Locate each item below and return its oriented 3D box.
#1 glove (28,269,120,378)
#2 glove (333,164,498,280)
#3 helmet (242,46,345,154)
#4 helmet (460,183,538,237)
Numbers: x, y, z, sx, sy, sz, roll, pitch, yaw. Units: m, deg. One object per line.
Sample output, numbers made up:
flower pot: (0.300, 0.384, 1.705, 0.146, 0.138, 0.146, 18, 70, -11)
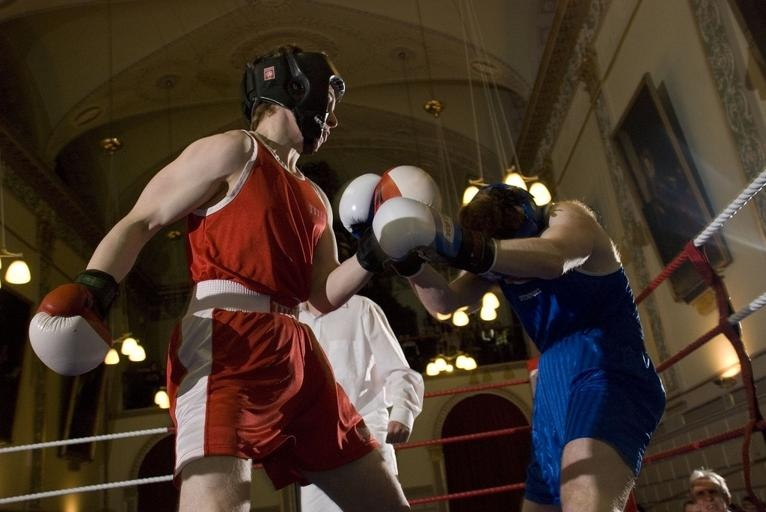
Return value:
glove: (-1.092, 0.234, 2.236, 0.269, 0.331, 0.224, -14, -30, 19)
glove: (0.148, -0.159, 2.473, 0.391, 0.320, 0.567, 15, -17, 44)
helmet: (-0.403, -0.666, 2.773, 0.405, 0.454, 0.384, -4, -17, -11)
helmet: (0.488, -0.161, 2.632, 0.255, 0.216, 0.234, 2, 0, -13)
